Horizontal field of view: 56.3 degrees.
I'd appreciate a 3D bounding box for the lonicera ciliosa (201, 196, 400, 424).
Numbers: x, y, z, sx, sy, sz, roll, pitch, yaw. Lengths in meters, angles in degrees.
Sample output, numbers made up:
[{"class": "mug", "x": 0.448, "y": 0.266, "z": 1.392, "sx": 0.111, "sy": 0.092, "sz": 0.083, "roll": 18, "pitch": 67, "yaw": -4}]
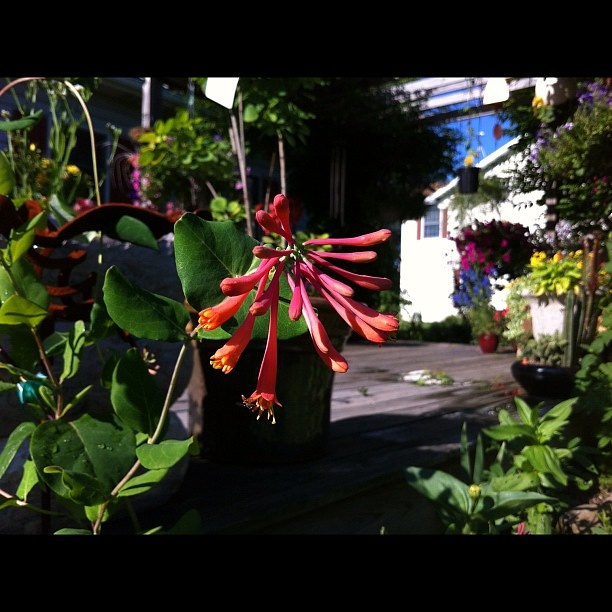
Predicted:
[{"class": "lonicera ciliosa", "x": -0.025, "y": 0.019, "z": 0.971, "sx": 0.286, "sy": 0.341, "sz": 0.349, "roll": 8, "pitch": 11, "yaw": -28}]
